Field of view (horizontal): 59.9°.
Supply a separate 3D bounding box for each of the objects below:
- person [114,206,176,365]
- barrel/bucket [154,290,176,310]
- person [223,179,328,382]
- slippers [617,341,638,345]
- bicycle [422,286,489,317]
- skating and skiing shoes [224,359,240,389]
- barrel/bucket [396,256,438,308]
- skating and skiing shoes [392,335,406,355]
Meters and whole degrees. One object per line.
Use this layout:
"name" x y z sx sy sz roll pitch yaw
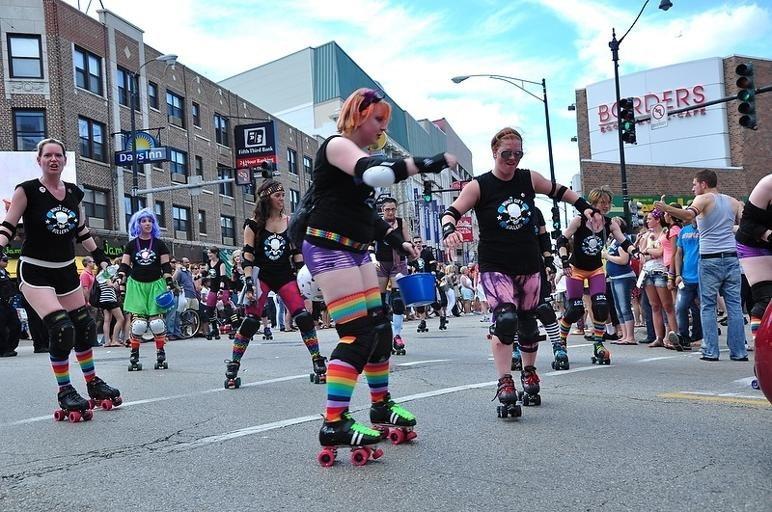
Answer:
"person" -3.671 0.524 10.205 1.000 2.316 1.017 -2 0 -37
"barrel/bucket" -3.378 0.662 10.173 0.277 0.284 0.374 -3 -1 -20
"person" -1.449 0.386 8.910 1.345 2.630 1.082 -2 0 17
"slippers" 4.475 1.588 12.384 0.283 0.065 0.131 -4 -3 29
"bicycle" 2.973 1.761 26.526 2.452 1.385 1.145 -5 -4 -16
"skating and skiing shoes" -1.930 1.458 8.352 0.198 0.319 0.251 -3 -1 1
"barrel/bucket" 0.420 0.454 8.816 0.577 0.362 0.540 -10 -15 -3
"skating and skiing shoes" 0.231 1.552 11.781 0.250 0.279 0.633 0 -7 -8
